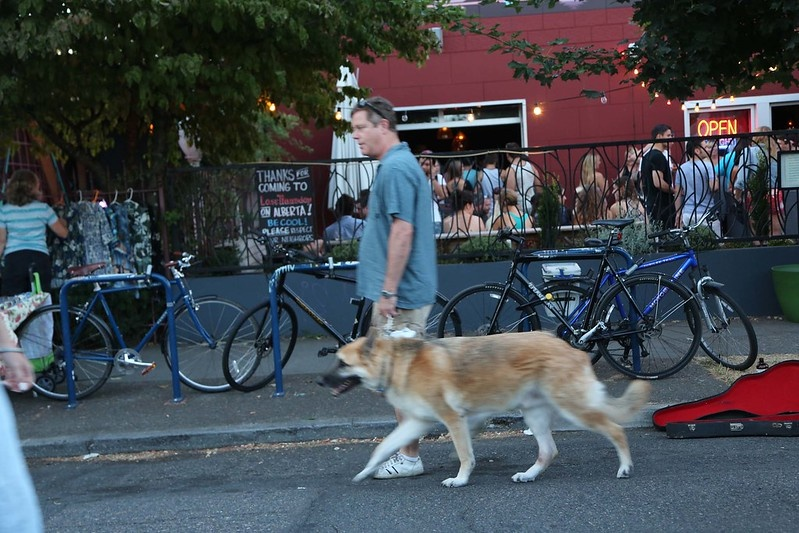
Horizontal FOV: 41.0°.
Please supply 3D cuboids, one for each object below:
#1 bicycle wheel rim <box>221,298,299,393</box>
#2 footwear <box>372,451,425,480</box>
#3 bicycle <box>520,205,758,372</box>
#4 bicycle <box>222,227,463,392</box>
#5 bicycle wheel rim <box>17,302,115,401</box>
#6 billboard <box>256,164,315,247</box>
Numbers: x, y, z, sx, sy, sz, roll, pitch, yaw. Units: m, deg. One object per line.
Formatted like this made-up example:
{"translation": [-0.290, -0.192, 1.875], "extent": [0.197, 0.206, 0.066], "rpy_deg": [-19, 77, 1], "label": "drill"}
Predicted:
{"translation": [-1.740, 0.982, 13.636], "extent": [1.169, 1.331, 0.255], "rpy_deg": [-16, 42, -35], "label": "bicycle wheel rim"}
{"translation": [-0.003, 2.137, 11.352], "extent": [0.579, 0.280, 0.227], "rpy_deg": [2, -3, -10], "label": "footwear"}
{"translation": [2.957, 0.432, 13.393], "extent": [2.937, 2.094, 1.106], "rpy_deg": [-2, 11, 10], "label": "bicycle"}
{"translation": [-0.827, 0.638, 13.569], "extent": [2.825, 1.933, 1.312], "rpy_deg": [-4, -13, 4], "label": "bicycle"}
{"translation": [-4.219, 1.096, 13.649], "extent": [1.182, 1.213, 0.642], "rpy_deg": [1, 9, 25], "label": "bicycle wheel rim"}
{"translation": [-1.619, -0.874, 15.176], "extent": [1.037, 1.588, 0.159], "rpy_deg": [-1, -6, -2], "label": "billboard"}
